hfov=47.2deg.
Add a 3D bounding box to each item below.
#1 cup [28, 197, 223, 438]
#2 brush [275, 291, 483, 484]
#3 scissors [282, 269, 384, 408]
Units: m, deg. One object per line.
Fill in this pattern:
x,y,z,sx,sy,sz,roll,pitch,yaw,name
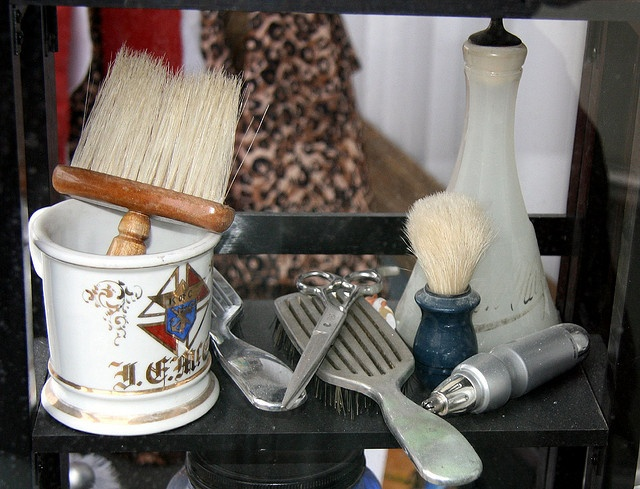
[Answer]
-0.125,0.052,0.573,0.149,0.151,0.131,8,19,9,cup
0.038,0.059,0.524,0.064,0.037,0.235,-12,31,-17,brush
0.002,0.065,0.575,0.049,0.009,0.124,0,26,19,scissors
